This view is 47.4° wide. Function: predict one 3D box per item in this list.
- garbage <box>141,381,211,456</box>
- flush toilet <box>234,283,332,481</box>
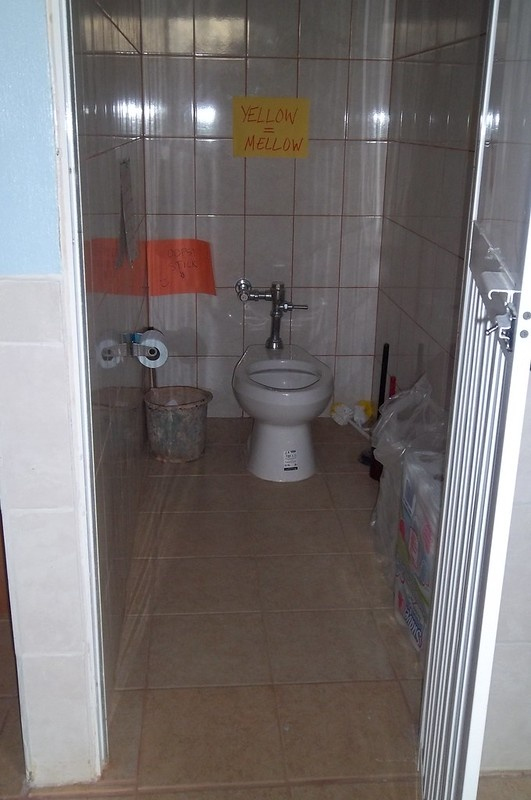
[{"bbox_3d":[-0.402,0.098,2.617,0.240,0.252,0.304,1,21,-4],"label":"garbage"},{"bbox_3d":[0.057,-0.085,2.697,0.371,0.717,0.697,-2,22,-8],"label":"flush toilet"}]
